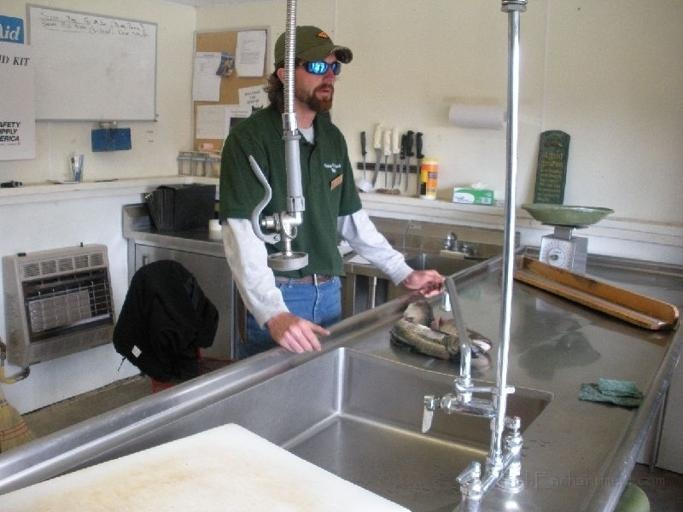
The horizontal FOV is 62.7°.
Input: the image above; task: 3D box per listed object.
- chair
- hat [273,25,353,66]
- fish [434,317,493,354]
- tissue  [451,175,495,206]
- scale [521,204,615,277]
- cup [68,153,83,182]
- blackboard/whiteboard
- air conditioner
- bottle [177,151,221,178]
[{"bbox_3d":[-0.901,0.317,2.833,0.494,0.570,0.323,14,17,19],"label":"chair"},{"bbox_3d":[-0.124,-0.793,2.095,0.308,0.153,0.315,1,11,4],"label":"hat"},{"bbox_3d":[0.375,0.227,1.749,0.101,0.060,0.165,5,11,-42],"label":"fish"},{"bbox_3d":[0.800,-0.385,3.395,0.269,0.124,0.190,3,12,16],"label":"tissue "},{"bbox_3d":[1.070,-0.057,2.679,0.376,0.302,0.365,2,1,5],"label":"scale"},{"bbox_3d":[-1.700,-0.568,3.596,0.081,0.175,0.112,-5,13,-26],"label":"cup"},{"bbox_3d":[-1.645,-1.266,3.606,0.044,0.671,0.960,7,9,41],"label":"blackboard/whiteboard"},{"bbox_3d":[-1.740,0.288,3.393,0.314,0.836,0.770,3,7,38],"label":"air conditioner"},{"bbox_3d":[-1.074,-0.706,4.256,0.417,0.192,0.139,7,13,31],"label":"bottle"}]
